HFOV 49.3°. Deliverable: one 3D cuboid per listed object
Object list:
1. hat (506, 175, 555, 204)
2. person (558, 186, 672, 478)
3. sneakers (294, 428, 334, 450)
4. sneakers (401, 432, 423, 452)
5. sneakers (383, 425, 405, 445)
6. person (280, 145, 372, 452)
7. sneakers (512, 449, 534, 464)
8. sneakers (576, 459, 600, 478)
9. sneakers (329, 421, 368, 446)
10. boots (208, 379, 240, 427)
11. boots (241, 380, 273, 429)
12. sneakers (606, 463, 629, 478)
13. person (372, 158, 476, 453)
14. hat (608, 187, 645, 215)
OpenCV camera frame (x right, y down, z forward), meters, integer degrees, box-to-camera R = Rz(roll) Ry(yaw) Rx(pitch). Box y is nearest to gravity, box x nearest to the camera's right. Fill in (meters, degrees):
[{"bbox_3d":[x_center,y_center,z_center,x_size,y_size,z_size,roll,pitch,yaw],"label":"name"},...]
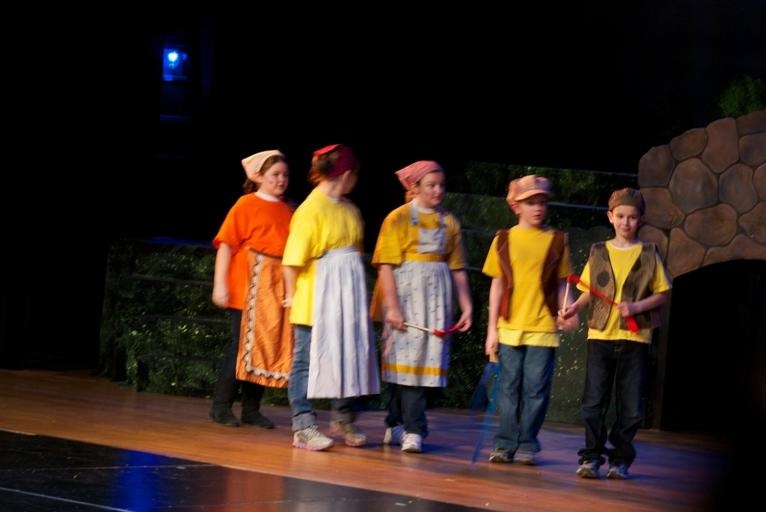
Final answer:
[{"bbox_3d":[1.008,-0.444,5.644,0.366,0.165,0.501,-3,-3,2],"label":"hat"},{"bbox_3d":[1.460,0.486,5.226,0.619,1.821,0.347,3,3,13],"label":"person"},{"bbox_3d":[-0.481,1.236,5.627,0.279,0.142,0.124,-2,-1,32],"label":"sneakers"},{"bbox_3d":[0.190,1.266,5.640,0.149,0.129,0.131,3,2,10],"label":"sneakers"},{"bbox_3d":[0.081,1.259,5.800,0.121,0.118,0.071,17,-17,1],"label":"sneakers"},{"bbox_3d":[-0.331,0.125,5.547,0.662,1.716,0.279,2,3,-7],"label":"person"},{"bbox_3d":[0.927,1.319,5.447,0.118,0.083,0.087,-1,-7,16],"label":"sneakers"},{"bbox_3d":[1.276,1.329,5.172,0.146,0.109,0.091,3,2,1],"label":"sneakers"},{"bbox_3d":[-0.272,1.218,5.751,0.301,0.144,0.130,12,14,27],"label":"sneakers"},{"bbox_3d":[-1.167,1.105,6.252,0.167,0.331,0.427,10,2,-32],"label":"boots"},{"bbox_3d":[-0.880,1.139,6.247,0.354,0.358,0.198,0,-6,21],"label":"boots"},{"bbox_3d":[1.458,1.340,5.159,0.146,0.095,0.067,2,2,-13],"label":"sneakers"},{"bbox_3d":[0.259,0.350,5.679,0.685,1.972,0.366,2,3,1],"label":"person"},{"bbox_3d":[1.527,-0.343,5.231,0.190,0.135,0.181,11,-7,-43],"label":"hat"}]
